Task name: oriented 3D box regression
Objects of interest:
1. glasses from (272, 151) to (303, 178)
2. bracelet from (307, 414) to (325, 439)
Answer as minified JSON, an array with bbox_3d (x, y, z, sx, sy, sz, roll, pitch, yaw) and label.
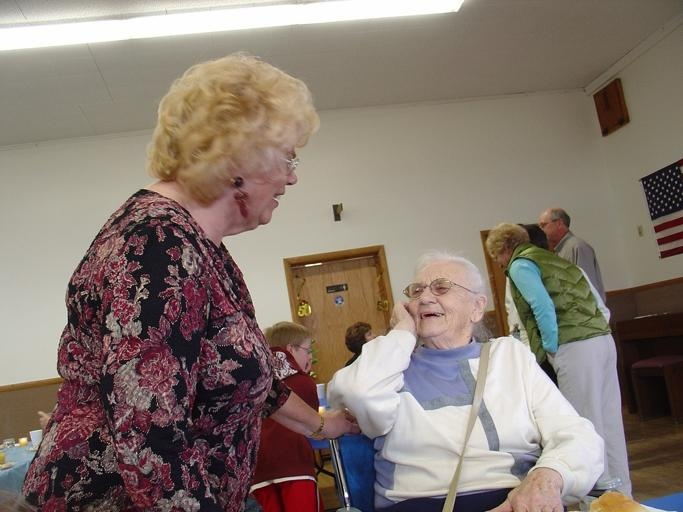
[{"bbox_3d":[-0.150,-0.248,1.438,0.071,0.055,0.058,2,5,40],"label":"glasses"},{"bbox_3d":[-0.089,0.608,1.887,0.040,0.078,0.058,3,0,-38],"label":"bracelet"}]
